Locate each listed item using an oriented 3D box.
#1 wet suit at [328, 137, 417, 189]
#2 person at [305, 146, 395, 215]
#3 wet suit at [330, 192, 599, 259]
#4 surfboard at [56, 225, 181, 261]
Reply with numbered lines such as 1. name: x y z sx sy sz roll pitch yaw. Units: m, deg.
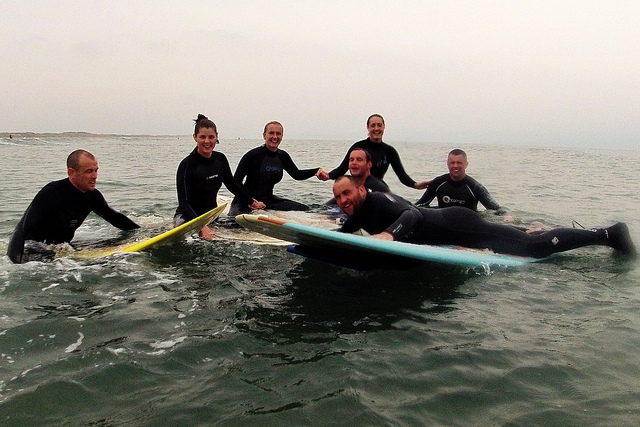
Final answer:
1. wet suit: 1.066 -1.044 10.187 1.688 0.931 1.098 -1 12 -18
2. person: 0.728 -0.541 9.039 1.410 0.788 1.784 9 7 28
3. wet suit: 2.673 0.247 6.986 4.438 0.473 1.121 5 3 -9
4. surfboard: -2.671 0.488 7.436 2.017 0.168 0.521 -12 18 -40
